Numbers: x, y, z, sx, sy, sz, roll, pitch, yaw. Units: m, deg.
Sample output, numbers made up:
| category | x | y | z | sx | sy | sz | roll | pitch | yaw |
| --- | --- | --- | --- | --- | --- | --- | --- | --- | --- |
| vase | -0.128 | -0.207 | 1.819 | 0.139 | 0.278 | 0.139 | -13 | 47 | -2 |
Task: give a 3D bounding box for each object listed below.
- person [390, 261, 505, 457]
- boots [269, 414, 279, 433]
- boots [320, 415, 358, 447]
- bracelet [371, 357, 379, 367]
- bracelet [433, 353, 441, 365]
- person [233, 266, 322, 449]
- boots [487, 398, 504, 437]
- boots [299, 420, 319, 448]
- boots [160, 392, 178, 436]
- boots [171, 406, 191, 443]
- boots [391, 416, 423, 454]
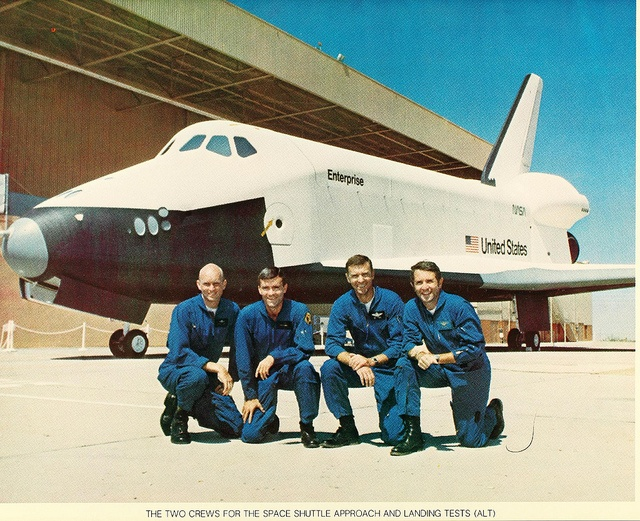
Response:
| category | x | y | z | sx | sy | sz | roll | pitch | yaw |
| --- | --- | --- | --- | --- | --- | --- | --- | --- | --- |
| person | 0.988 | 0.720 | 4.681 | 0.961 | 1.441 | 0.525 | 0 | -4 | -4 |
| boots | -0.383 | 1.370 | 5.006 | 0.053 | 0.147 | 0.100 | 8 | 1 | 21 |
| boots | 0.160 | 1.350 | 4.710 | 0.312 | 0.244 | 0.116 | 1 | -18 | -23 |
| bracelet | 0.447 | 0.808 | 4.793 | 0.058 | 0.060 | 0.052 | 26 | 17 | -3 |
| bracelet | 0.909 | 0.768 | 4.614 | 0.064 | 0.065 | 0.015 | 7 | -1 | -36 |
| person | -0.348 | 0.879 | 4.896 | 0.741 | 1.156 | 0.494 | -1 | -4 | 7 |
| boots | 1.458 | 1.271 | 4.857 | 0.152 | 0.377 | 0.107 | -4 | 5 | -43 |
| boots | -0.077 | 1.355 | 4.671 | 0.134 | 0.175 | 0.168 | 1 | -4 | -11 |
| boots | -1.261 | 1.256 | 4.963 | 0.126 | 0.370 | 0.155 | 1 | 5 | -29 |
| boots | -1.112 | 1.313 | 4.773 | 0.142 | 0.250 | 0.216 | 1 | -4 | -14 |
| boots | 0.649 | 1.295 | 4.435 | 0.169 | 0.255 | 0.276 | -2 | -4 | 29 |
